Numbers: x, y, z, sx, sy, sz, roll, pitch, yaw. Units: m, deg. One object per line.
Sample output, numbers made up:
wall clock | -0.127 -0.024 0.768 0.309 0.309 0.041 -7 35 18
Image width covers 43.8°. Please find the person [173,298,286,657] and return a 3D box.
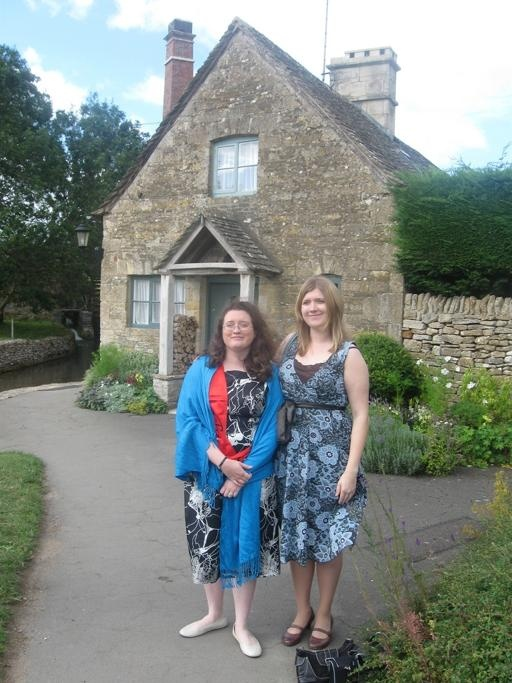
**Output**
person | -0.137 0.661 3.234 0.552 1.364 0.369 3 1 -6

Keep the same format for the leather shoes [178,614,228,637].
leather shoes | -0.274 1.487 3.362 0.232 0.079 0.083 1 8 -28

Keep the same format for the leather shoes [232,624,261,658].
leather shoes | -0.035 1.493 3.167 0.089 0.108 0.170 3 1 -27

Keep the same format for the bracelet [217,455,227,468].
bracelet | -0.159 0.589 3.077 0.041 0.046 0.038 3 1 0
